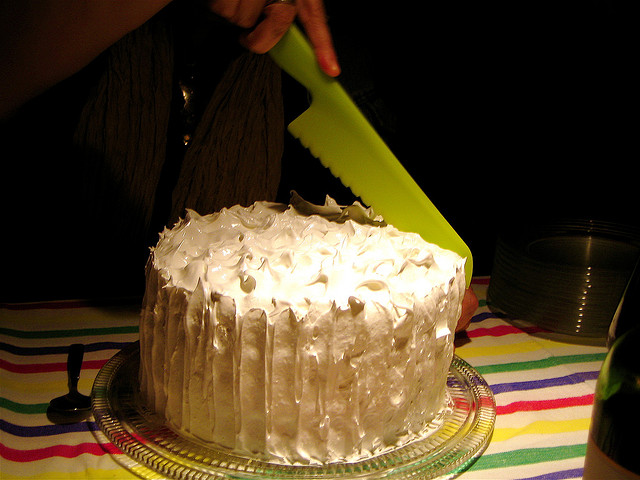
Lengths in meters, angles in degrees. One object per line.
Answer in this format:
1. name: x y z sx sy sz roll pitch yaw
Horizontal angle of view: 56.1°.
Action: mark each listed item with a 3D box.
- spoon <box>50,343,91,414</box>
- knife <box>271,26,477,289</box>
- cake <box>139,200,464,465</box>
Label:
1. spoon: -0.478 0.267 1.174 0.045 0.025 0.163 5 30 -11
2. knife: 0.155 -0.118 1.293 0.783 0.201 0.064 49 14 -8
3. cake: -0.036 0.155 1.152 0.606 0.381 0.365 8 10 10
